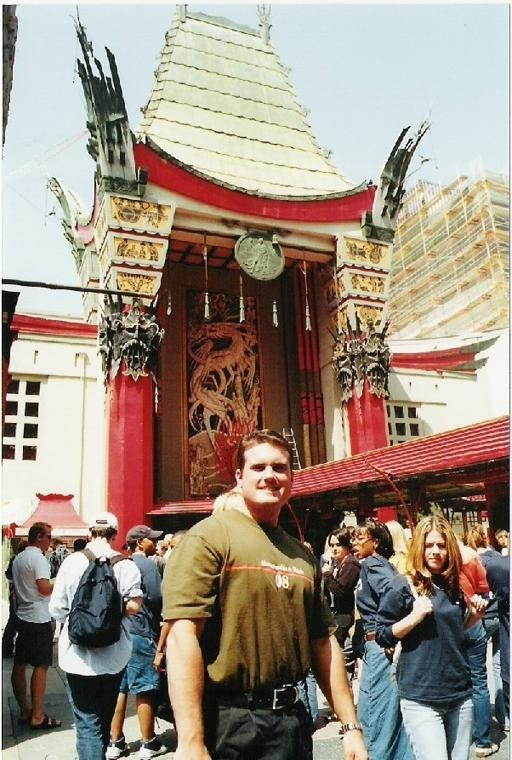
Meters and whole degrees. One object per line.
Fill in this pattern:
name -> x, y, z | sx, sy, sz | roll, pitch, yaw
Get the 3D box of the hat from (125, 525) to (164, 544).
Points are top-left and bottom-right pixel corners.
hat -> -1.018, 1.397, 5.348 | 0.327, 0.138, 0.209 | -5, -9, -17

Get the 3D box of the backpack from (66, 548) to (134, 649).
backpack -> -0.985, 1.338, 3.616 | 0.334, 0.555, 0.378 | 1, -12, -12

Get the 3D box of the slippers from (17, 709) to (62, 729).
slippers -> -2.049, 3.208, 5.533 | 0.332, 0.112, 0.174 | 10, -24, -17
